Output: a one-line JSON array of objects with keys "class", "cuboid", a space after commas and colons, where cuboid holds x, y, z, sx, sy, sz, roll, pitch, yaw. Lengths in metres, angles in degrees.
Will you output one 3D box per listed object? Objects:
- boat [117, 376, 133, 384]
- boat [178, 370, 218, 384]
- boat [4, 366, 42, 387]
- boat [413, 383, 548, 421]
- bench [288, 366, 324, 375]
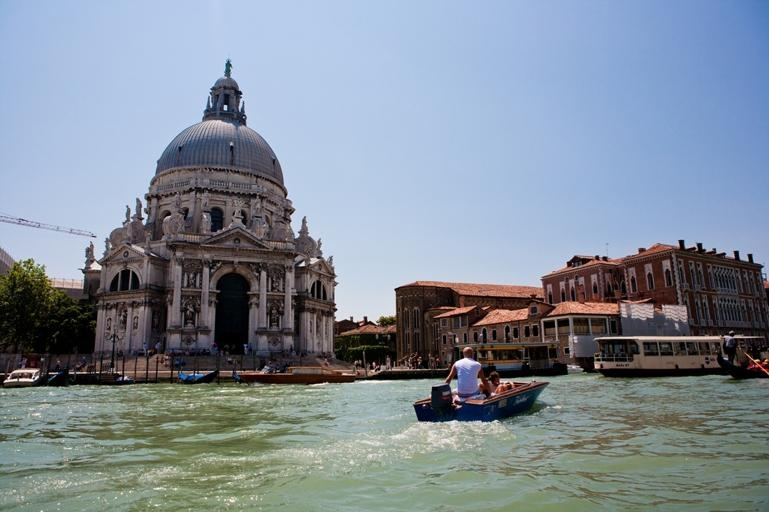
[{"class": "boat", "cuboid": [-20.049, 9.472, 37.395, 1.080, 0.655, 0.779, -7, -15, 19]}, {"class": "boat", "cuboid": [-14.841, 9.422, 37.584, 2.722, 0.868, 1.230, -8, -15, 24]}, {"class": "boat", "cuboid": [-27.255, 9.119, 36.314, 2.217, 1.274, 1.106, -2, -15, -2]}, {"class": "boat", "cuboid": [3.494, 4.805, 15.796, 4.479, 0.961, 1.803, 7, -12, -41]}, {"class": "bench", "cuboid": [-6.103, 8.878, 37.733, 2.558, 0.551, 1.180, 1, -14, -12]}]
